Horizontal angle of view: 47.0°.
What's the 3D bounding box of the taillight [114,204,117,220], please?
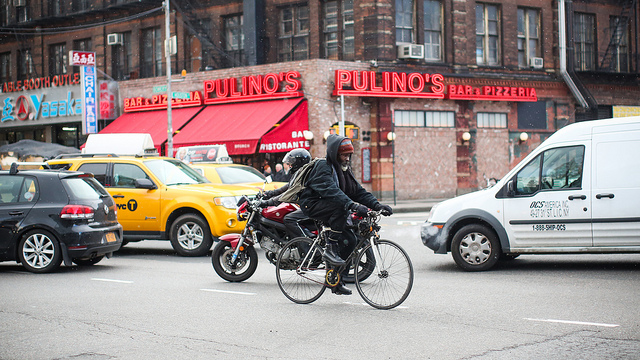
[{"bbox_3d":[-6.014,0.949,21.727,0.053,0.404,0.151,-1,0,-4],"label":"taillight"}]
